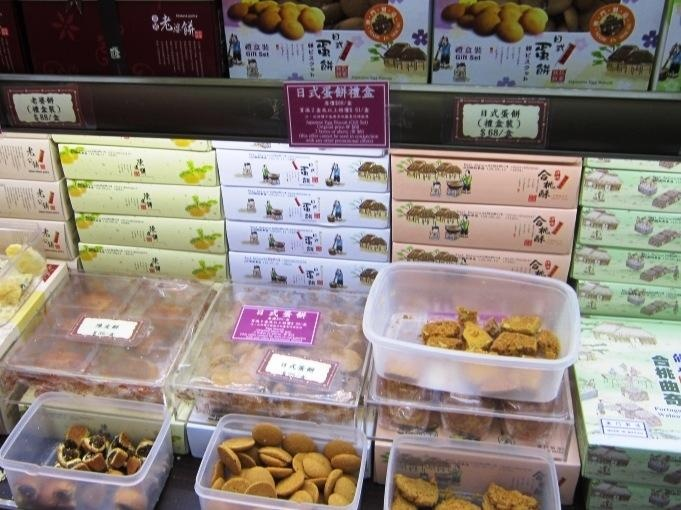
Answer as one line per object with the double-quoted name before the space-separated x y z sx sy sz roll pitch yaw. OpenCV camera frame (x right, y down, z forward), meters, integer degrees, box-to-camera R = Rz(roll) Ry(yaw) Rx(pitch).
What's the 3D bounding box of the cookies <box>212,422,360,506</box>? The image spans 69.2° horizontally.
"cookies" -0.176 0.633 1.481 0.347 0.115 0.233 6 47 1
